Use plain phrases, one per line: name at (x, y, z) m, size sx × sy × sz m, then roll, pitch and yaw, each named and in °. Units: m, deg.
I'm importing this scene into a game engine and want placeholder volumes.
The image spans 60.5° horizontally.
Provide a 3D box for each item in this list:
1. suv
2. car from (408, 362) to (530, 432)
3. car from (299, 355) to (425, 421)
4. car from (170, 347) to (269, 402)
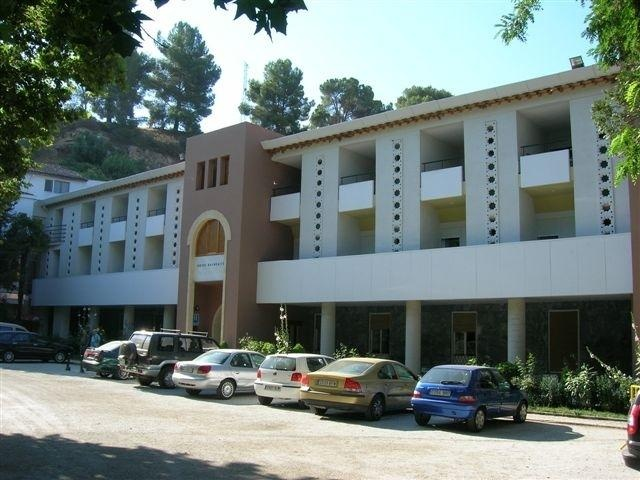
suv at (-6.132, 4.808, 23.062) m, size 3.634 × 1.998 × 2.030 m, roll 0°, pitch -5°, yaw -38°
car at (4.375, 4.471, 15.639) m, size 3.301 × 1.747 × 1.314 m, roll 9°, pitch -15°, yaw -32°
car at (1.260, 4.456, 16.591) m, size 3.294 × 1.779 × 1.552 m, roll 9°, pitch -15°, yaw -30°
car at (-3.510, 4.862, 20.461) m, size 1.561 × 1.223 × 3.554 m, roll -5°, pitch -6°, yaw 39°
